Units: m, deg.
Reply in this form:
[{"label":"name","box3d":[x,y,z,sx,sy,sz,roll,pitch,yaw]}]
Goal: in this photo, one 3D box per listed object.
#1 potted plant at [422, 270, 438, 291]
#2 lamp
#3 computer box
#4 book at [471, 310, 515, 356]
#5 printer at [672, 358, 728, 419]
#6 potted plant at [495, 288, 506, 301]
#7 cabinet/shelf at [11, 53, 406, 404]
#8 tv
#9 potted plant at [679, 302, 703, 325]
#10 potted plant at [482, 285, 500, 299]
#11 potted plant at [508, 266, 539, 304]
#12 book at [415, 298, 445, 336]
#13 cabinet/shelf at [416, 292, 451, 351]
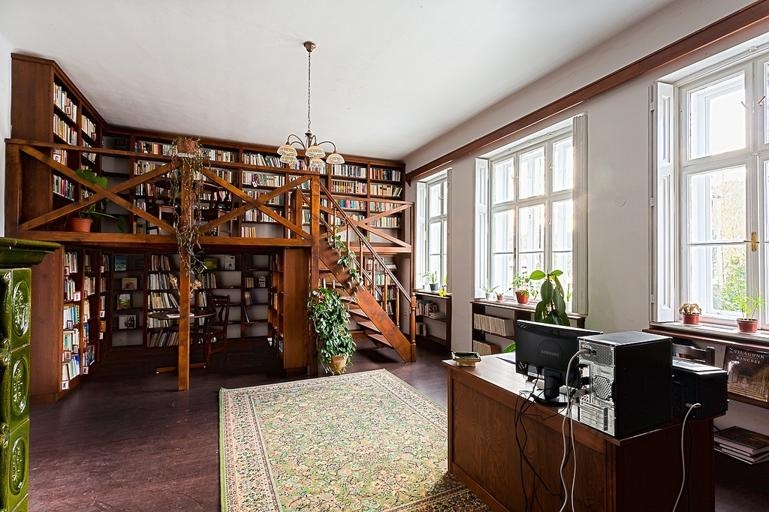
[{"label":"potted plant","box3d":[0.928,0.544,10.446,0.359,0.362,0.339,-1,5,-28]},{"label":"lamp","box3d":[-1.221,-2.377,8.723,1.322,1.872,3.761,-3,13,-11]},{"label":"computer box","box3d":[2.107,1.105,4.452,0.754,0.745,0.487,0,-1,-17]},{"label":"book","box3d":[1.769,1.252,8.106,0.322,0.804,0.816,1,0,-30]},{"label":"printer","box3d":[2.812,1.248,4.672,0.345,0.442,0.598,-1,-3,-15]},{"label":"potted plant","box3d":[1.942,0.687,8.529,0.120,0.173,0.183,-3,-3,39]},{"label":"cabinet/shelf","box3d":[-2.978,-0.454,8.094,4.751,3.242,1.529,0,-3,-28]},{"label":"tv","box3d":[1.598,1.013,4.722,0.351,0.708,0.919,1,0,-34]},{"label":"potted plant","box3d":[3.652,0.706,6.012,0.229,0.242,0.242,0,-4,27]},{"label":"potted plant","box3d":[1.868,0.653,8.712,0.227,0.228,0.205,0,-2,12]},{"label":"potted plant","box3d":[2.230,0.468,8.001,0.534,0.539,0.536,2,-4,-4]},{"label":"book","box3d":[0.908,1.234,9.988,0.284,0.788,0.842,1,-1,-27]},{"label":"cabinet/shelf","box3d":[0.976,1.314,9.859,0.360,1.051,1.106,1,-2,-21]}]
